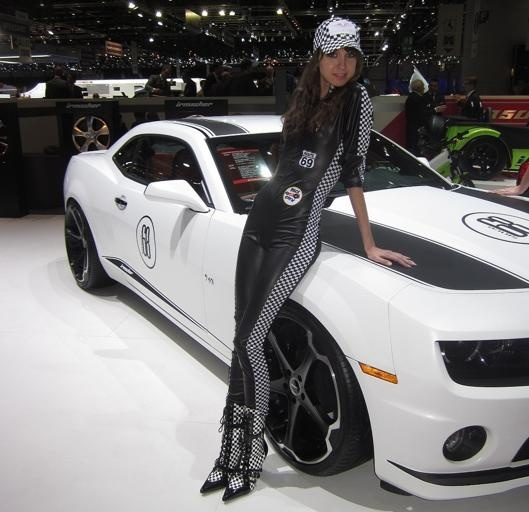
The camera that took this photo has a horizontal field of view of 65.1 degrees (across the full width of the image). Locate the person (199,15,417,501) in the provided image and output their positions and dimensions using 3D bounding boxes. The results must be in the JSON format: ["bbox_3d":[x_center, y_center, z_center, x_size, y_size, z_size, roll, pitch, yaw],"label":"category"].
[{"bbox_3d":[0.065,0.054,1.665,0.689,1.840,0.450,-9,27,-31],"label":"person"}]

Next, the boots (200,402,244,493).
[{"bbox_3d":[-0.119,0.784,1.833,0.142,0.204,0.454,2,19,11],"label":"boots"}]

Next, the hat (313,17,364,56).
[{"bbox_3d":[0.277,-0.794,1.549,0.143,0.113,0.197,-1,21,-5],"label":"hat"}]
